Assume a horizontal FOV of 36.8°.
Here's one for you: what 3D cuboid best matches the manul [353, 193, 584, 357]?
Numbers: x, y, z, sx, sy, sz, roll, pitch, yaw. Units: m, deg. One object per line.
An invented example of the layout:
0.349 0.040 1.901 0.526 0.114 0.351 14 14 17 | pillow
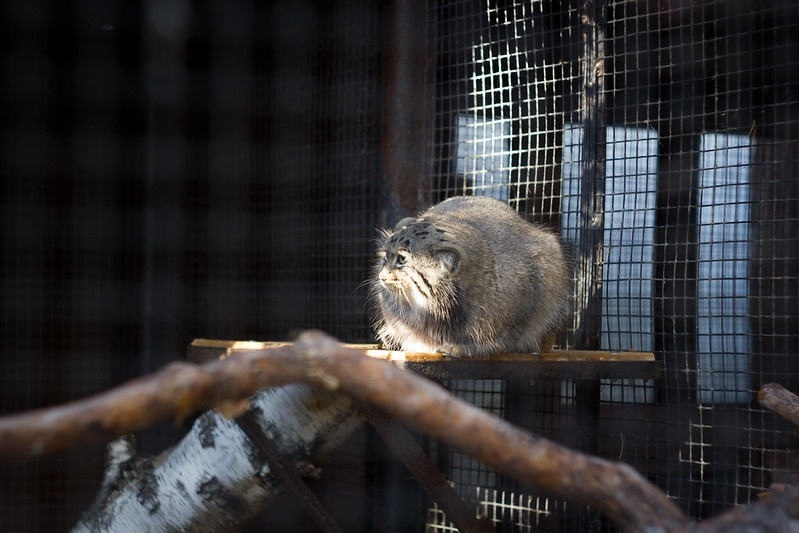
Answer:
0.644 0.127 10.472 1.538 1.087 1.104 4 -10 -31 | manul
